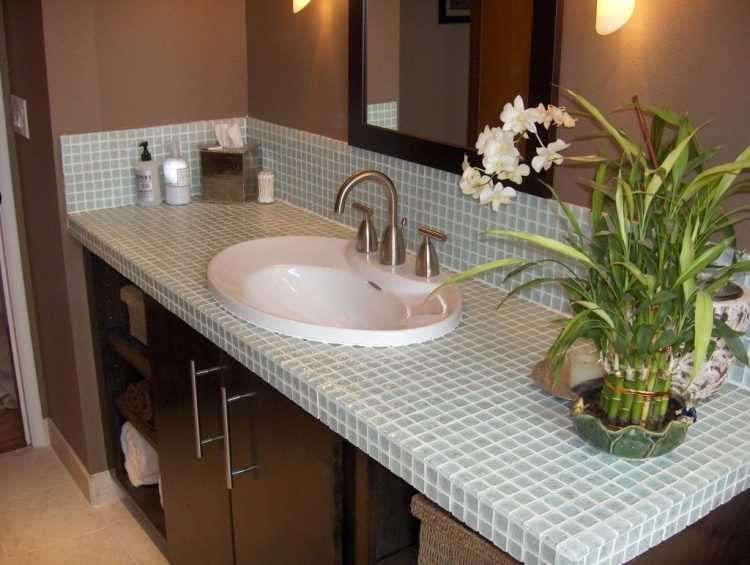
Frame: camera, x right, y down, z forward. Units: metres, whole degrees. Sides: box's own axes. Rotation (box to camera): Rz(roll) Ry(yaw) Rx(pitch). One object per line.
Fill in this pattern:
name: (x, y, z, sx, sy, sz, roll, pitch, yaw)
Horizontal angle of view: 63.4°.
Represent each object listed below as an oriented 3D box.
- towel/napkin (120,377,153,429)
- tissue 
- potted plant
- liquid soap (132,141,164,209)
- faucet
towel/napkin: (-0.909, 0.471, 2.352, 0.071, 0.163, 0.155, -10, 5, -33)
tissue : (-0.590, -0.469, 2.448, 0.255, 0.377, 0.183, 12, 19, 32)
potted plant: (0.566, -0.015, 1.304, 0.533, 0.748, 0.739, -11, 27, -30)
liquid soap: (-0.888, -0.431, 2.398, 0.117, 0.239, 0.120, -16, 25, -32)
faucet: (-0.020, -0.192, 1.818, 0.226, 0.284, 0.177, -8, 22, -14)
